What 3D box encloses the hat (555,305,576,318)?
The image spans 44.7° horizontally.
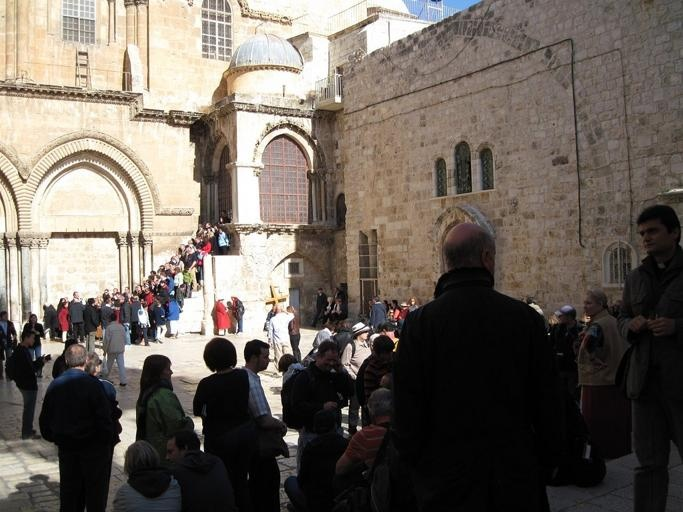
[{"bbox_3d":[3.410,0.849,12.886,0.432,0.227,0.305,0,-1,23],"label":"hat"}]

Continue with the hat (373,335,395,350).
[{"bbox_3d":[0.593,1.223,11.588,0.188,0.237,0.230,-1,-16,3],"label":"hat"}]
